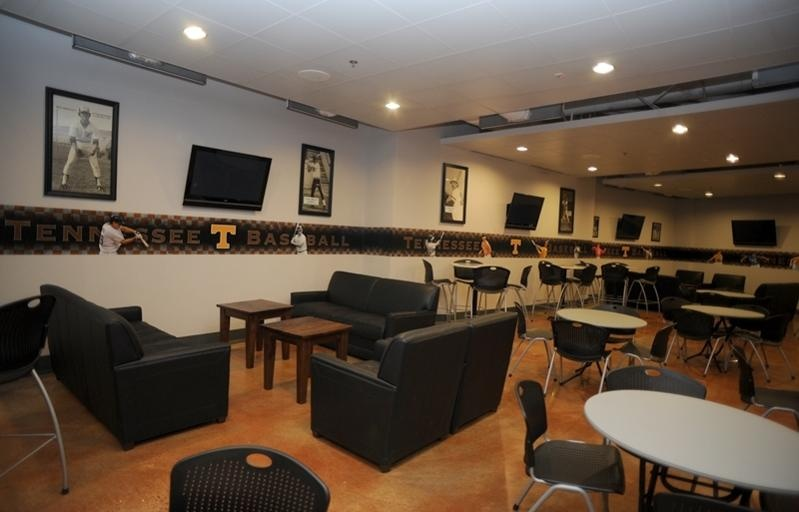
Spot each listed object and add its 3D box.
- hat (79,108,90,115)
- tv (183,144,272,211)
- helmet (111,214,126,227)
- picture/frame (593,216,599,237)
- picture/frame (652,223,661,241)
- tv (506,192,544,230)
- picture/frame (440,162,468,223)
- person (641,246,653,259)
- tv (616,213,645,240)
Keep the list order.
[{"bbox_3d":[-4.294,-1.952,7.125,0.066,0.077,0.088,7,11,20],"label":"hat"},{"bbox_3d":[-2.765,-1.227,8.234,1.151,0.788,0.115,6,12,-41],"label":"tv"},{"bbox_3d":[-3.989,-0.496,7.396,0.133,0.159,0.166,12,-3,12],"label":"helmet"},{"bbox_3d":[5.414,-0.799,14.377,0.095,0.584,0.392,7,6,40],"label":"picture/frame"},{"bbox_3d":[8.121,-0.768,16.543,0.577,0.561,0.043,-3,9,-42],"label":"picture/frame"},{"bbox_3d":[2.808,-1.027,11.836,0.913,0.648,0.129,6,14,-38],"label":"tv"},{"bbox_3d":[1.117,-1.242,10.578,0.682,1.162,0.096,-1,6,-42],"label":"picture/frame"},{"bbox_3d":[7.675,-0.079,16.154,0.303,0.404,1.046,5,4,26],"label":"person"},{"bbox_3d":[6.816,-0.824,15.425,1.313,0.759,0.167,0,5,-39],"label":"tv"}]
